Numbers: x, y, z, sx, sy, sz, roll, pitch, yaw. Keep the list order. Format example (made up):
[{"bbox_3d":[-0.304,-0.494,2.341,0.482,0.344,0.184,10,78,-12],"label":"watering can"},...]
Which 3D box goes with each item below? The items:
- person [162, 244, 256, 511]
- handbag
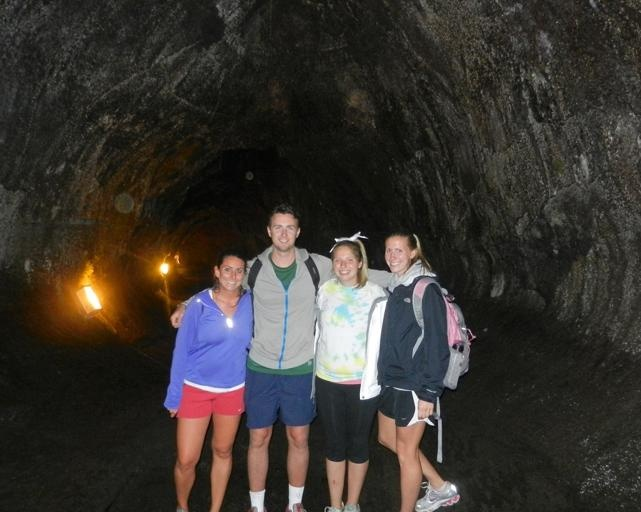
[{"bbox_3d":[-1.063,1.305,4.938,0.679,2.507,1.003,6,23,10],"label":"person"},{"bbox_3d":[1.085,0.762,4.695,0.580,1.051,0.599,10,24,17],"label":"handbag"}]
